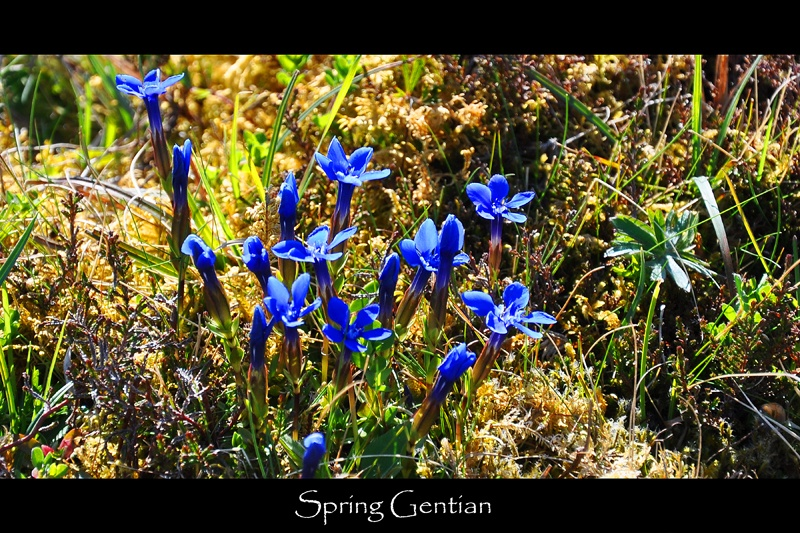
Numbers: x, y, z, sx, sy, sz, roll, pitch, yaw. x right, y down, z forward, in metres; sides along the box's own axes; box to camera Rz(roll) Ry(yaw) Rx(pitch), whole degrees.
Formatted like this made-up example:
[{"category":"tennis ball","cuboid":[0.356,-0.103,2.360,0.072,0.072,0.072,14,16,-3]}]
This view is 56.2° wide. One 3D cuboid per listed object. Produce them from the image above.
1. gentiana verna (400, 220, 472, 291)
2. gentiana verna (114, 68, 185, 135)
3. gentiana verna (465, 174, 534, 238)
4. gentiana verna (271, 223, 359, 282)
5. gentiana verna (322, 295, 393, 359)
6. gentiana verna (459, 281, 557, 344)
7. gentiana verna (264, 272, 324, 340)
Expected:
[{"category":"gentiana verna","cuboid":[0.118,-0.058,2.531,0.205,0.203,0.233,7,70,2]},{"category":"gentiana verna","cuboid":[-0.909,-0.649,2.821,0.254,0.252,0.250,1,34,-3]},{"category":"gentiana verna","cuboid":[0.345,-0.222,2.768,0.234,0.165,0.243,6,56,-1]},{"category":"gentiana verna","cuboid":[-0.285,-0.073,2.509,0.220,0.146,0.216,-19,28,-26]},{"category":"gentiana verna","cuboid":[-0.148,0.198,2.438,0.210,0.244,0.154,-18,54,-12]},{"category":"gentiana verna","cuboid":[0.350,0.153,2.444,0.229,0.081,0.215,-13,47,-40]},{"category":"gentiana verna","cuboid":[-0.368,0.140,2.444,0.196,0.239,0.205,2,62,-12]}]
